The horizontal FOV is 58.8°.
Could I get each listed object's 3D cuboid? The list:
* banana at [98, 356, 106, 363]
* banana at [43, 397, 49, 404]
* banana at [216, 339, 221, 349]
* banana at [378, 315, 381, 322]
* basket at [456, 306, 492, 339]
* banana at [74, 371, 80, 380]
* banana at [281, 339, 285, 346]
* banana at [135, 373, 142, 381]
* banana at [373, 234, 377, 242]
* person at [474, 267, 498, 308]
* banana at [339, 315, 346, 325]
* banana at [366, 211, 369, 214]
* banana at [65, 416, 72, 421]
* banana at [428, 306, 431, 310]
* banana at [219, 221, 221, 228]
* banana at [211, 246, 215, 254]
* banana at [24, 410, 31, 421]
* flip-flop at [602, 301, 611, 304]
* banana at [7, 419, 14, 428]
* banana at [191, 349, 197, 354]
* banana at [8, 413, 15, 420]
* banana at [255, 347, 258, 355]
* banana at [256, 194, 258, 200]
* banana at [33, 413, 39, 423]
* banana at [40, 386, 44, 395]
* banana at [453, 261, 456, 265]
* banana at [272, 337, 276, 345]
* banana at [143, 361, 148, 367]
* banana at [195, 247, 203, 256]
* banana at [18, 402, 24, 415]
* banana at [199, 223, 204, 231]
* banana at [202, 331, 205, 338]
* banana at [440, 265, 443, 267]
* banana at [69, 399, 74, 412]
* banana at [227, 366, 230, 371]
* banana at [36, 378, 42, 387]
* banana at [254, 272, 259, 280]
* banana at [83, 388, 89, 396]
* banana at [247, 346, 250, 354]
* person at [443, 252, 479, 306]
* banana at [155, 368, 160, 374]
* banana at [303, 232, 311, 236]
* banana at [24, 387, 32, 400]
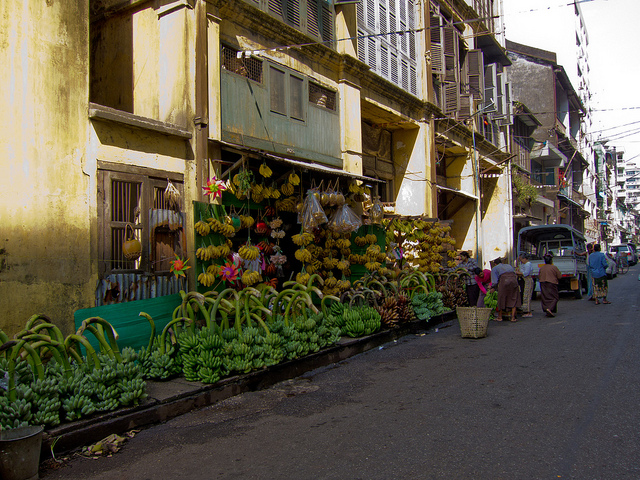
[{"bbox_3d":[-3.408,1.838,8.840,0.083,0.098,0.266,-4,5,-25],"label":"banana"},{"bbox_3d":[-3.752,2.181,7.765,0.062,0.065,0.069,0,5,26],"label":"banana"},{"bbox_3d":[-1.728,1.747,9.645,0.083,0.142,0.034,-5,5,-33],"label":"banana"},{"bbox_3d":[1.378,1.784,13.052,0.026,0.123,0.023,-3,16,-30],"label":"banana"},{"bbox_3d":[3.487,1.828,12.866,0.540,0.792,0.675,-2,-4,18],"label":"basket"},{"bbox_3d":[-3.559,1.959,8.288,0.045,0.187,0.046,22,21,-31],"label":"banana"},{"bbox_3d":[-0.685,1.863,10.436,0.029,0.136,0.088,0,4,19],"label":"banana"},{"bbox_3d":[-2.786,2.075,8.689,0.042,0.040,0.155,9,-46,-44],"label":"banana"},{"bbox_3d":[1.652,-0.061,17.172,0.042,0.199,0.194,-12,34,20],"label":"banana"},{"bbox_3d":[4.536,1.277,15.402,0.436,1.148,0.676,-10,39,26],"label":"person"},{"bbox_3d":[0.497,1.740,12.517,0.035,0.299,0.039,-20,9,36],"label":"banana"},{"bbox_3d":[1.450,-0.850,17.455,0.066,0.084,0.018,6,3,14],"label":"banana"},{"bbox_3d":[-3.494,2.450,7.848,0.067,0.057,0.018,11,9,3],"label":"banana"},{"bbox_3d":[2.828,1.733,14.674,0.072,0.087,0.022,9,1,26],"label":"banana"},{"bbox_3d":[-2.190,-0.338,12.407,0.027,0.122,0.057,-2,4,-7],"label":"banana"},{"bbox_3d":[-2.310,0.210,12.270,0.031,0.119,0.075,3,2,19],"label":"banana"},{"bbox_3d":[-3.906,2.313,7.545,0.069,0.119,0.026,14,-1,-13],"label":"banana"},{"bbox_3d":[8.809,1.923,17.465,0.188,0.021,0.127,-1,5,23],"label":"flip-flop"},{"bbox_3d":[-4.061,2.376,7.422,0.029,0.111,0.054,-1,31,32],"label":"banana"},{"bbox_3d":[-2.138,1.869,9.593,0.019,0.062,0.049,-21,10,36],"label":"banana"},{"bbox_3d":[-4.074,2.311,7.468,0.074,0.084,0.044,-3,4,-12],"label":"banana"},{"bbox_3d":[-1.122,1.940,9.959,0.053,0.111,0.029,-5,5,-34],"label":"banana"},{"bbox_3d":[-1.502,-1.016,13.472,0.032,0.103,0.049,-2,4,-7],"label":"banana"},{"bbox_3d":[-3.814,2.371,7.607,0.023,0.109,0.074,-12,-5,11],"label":"banana"},{"bbox_3d":[-3.852,2.070,7.843,0.054,0.102,0.043,-4,4,-27],"label":"banana"},{"bbox_3d":[4.937,0.821,20.735,0.077,0.058,0.089,-6,-1,-1],"label":"banana"},{"bbox_3d":[-0.828,1.801,10.226,0.042,0.108,0.030,11,-1,-38],"label":"banana"},{"bbox_3d":[-2.960,2.072,9.570,0.044,0.098,0.019,3,-6,-3],"label":"banana"},{"bbox_3d":[-2.588,0.233,12.128,0.063,0.043,0.143,25,50,6],"label":"banana"},{"bbox_3d":[-3.966,2.234,7.520,0.076,0.134,0.039,-5,5,-33],"label":"banana"},{"bbox_3d":[-2.536,-0.285,12.089,0.062,0.155,0.041,21,-6,-43],"label":"banana"},{"bbox_3d":[-2.018,1.616,9.813,0.037,0.097,0.048,-3,4,-21],"label":"banana"},{"bbox_3d":[4.351,0.918,20.319,0.054,0.079,0.063,-3,11,2],"label":"banana"},{"bbox_3d":[-3.454,2.276,7.872,0.040,0.153,0.036,-11,2,35],"label":"banana"},{"bbox_3d":[-1.539,2.125,9.513,0.036,0.059,0.012,-6,6,-44],"label":"banana"},{"bbox_3d":[-3.909,1.956,7.882,0.054,0.120,0.065,-7,8,-30],"label":"banana"},{"bbox_3d":[-1.457,0.801,12.893,0.037,0.172,0.151,-12,-30,8],"label":"banana"},{"bbox_3d":[-3.333,2.134,8.039,0.019,0.103,0.056,10,-4,42],"label":"banana"},{"bbox_3d":[-1.246,1.895,9.832,0.053,0.115,0.022,5,-5,-30],"label":"banana"},{"bbox_3d":[4.330,1.223,16.555,0.934,1.883,0.662,-6,8,41],"label":"person"},{"bbox_3d":[-2.720,2.171,9.462,0.073,0.078,0.049,-4,5,-23],"label":"banana"},{"bbox_3d":[-0.348,-0.155,14.400,0.162,0.073,0.186,-3,5,-3],"label":"banana"},{"bbox_3d":[-3.961,2.070,7.690,0.099,0.133,0.062,-5,5,-39],"label":"banana"}]
